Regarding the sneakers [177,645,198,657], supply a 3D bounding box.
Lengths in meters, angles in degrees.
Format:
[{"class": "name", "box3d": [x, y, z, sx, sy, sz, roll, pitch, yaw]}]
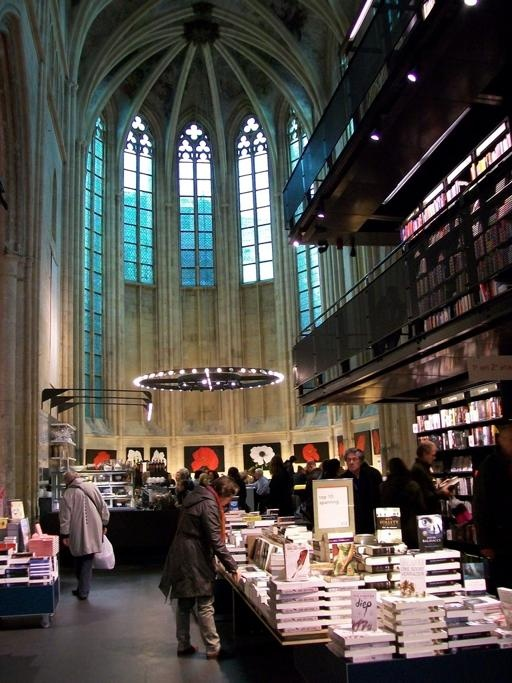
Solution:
[{"class": "sneakers", "box3d": [-0.526, 2.368, 4.536, 0.149, 0.059, 0.185, 7, -11, -2]}]

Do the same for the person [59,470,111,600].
[{"class": "person", "box3d": [-2.157, 2.371, 7.306, 0.602, 1.476, 0.504, 10, -12, -14]}]
